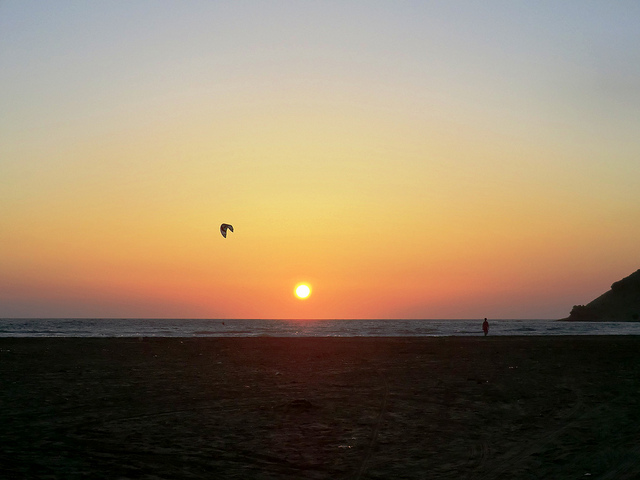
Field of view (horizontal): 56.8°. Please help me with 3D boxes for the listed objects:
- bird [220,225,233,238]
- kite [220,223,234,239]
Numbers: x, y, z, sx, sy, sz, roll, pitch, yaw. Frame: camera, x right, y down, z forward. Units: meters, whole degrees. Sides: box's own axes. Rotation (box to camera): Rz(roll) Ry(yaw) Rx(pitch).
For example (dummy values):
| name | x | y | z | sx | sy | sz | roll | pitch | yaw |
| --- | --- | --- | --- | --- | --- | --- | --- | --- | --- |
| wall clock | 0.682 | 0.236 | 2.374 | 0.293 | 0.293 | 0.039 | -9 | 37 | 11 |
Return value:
| name | x | y | z | sx | sy | sz | roll | pitch | yaw |
| --- | --- | --- | --- | --- | --- | --- | --- | --- | --- |
| bird | -5.668 | -0.627 | 35.415 | 0.748 | 0.819 | 0.266 | -2 | -26 | -10 |
| kite | -5.276 | -0.589 | 33.005 | 0.797 | 0.857 | 0.329 | -7 | 13 | -14 |
